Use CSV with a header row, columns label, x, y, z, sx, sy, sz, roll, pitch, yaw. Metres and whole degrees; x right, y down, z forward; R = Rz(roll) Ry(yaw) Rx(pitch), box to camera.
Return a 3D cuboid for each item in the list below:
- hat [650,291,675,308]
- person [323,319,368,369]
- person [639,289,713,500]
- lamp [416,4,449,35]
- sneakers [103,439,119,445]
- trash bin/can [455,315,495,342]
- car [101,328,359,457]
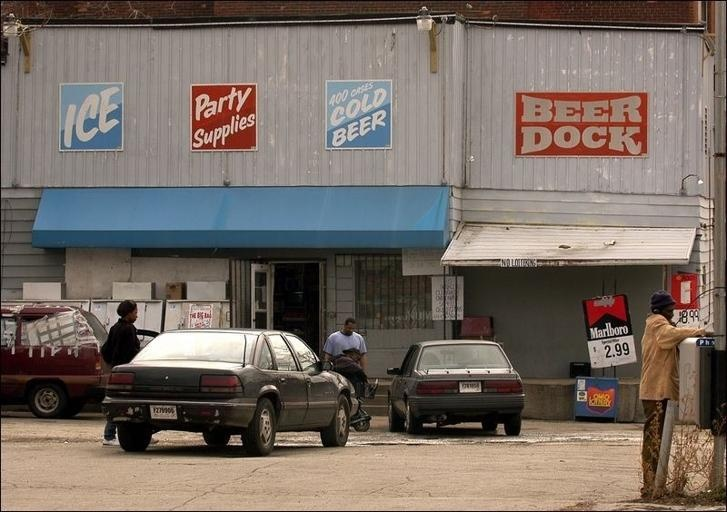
label,x,y,z,sx,sy,sz,roll,pitch,yaw
hat,5.287,0.769,27.225,0.338,0.271,0.273,-1,3,6
person,-0.391,2.057,35.301,1.064,1.655,0.541,3,-10,-25
person,5.248,2.390,26.813,0.934,3.504,0.700,-3,-4,13
lamp,1.712,-5.864,38.425,0.773,0.794,0.511,2,-1,5
sneakers,-5.009,3.697,30.383,0.312,0.166,0.126,2,-1,11
trash bin/can,2.776,1.798,37.789,0.781,0.569,0.678,-2,-4,0
car,-2.288,2.579,30.309,2.130,1.707,4.161,-1,-2,23
